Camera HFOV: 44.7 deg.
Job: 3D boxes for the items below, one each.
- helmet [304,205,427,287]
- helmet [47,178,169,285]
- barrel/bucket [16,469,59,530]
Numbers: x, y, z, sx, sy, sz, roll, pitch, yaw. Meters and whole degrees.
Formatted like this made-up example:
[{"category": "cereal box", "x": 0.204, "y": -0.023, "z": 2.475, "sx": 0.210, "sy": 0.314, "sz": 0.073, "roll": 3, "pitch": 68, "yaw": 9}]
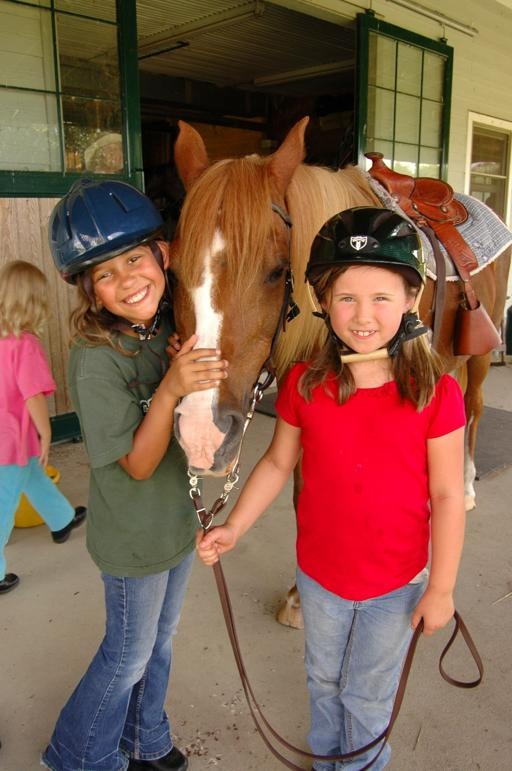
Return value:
[{"category": "helmet", "x": 0.212, "y": -0.270, "z": 1.231, "sx": 0.146, "sy": 0.146, "sz": 0.198, "roll": 2, "pitch": 11, "yaw": 14}, {"category": "helmet", "x": -0.315, "y": -0.315, "z": 1.352, "sx": 0.187, "sy": 0.144, "sz": 0.249, "roll": -22, "pitch": -1, "yaw": -5}, {"category": "barrel/bucket", "x": -1.027, "y": 0.539, "z": 2.917, "sx": 0.235, "sy": 0.236, "sz": 0.230, "roll": -2, "pitch": 15, "yaw": 0}]
